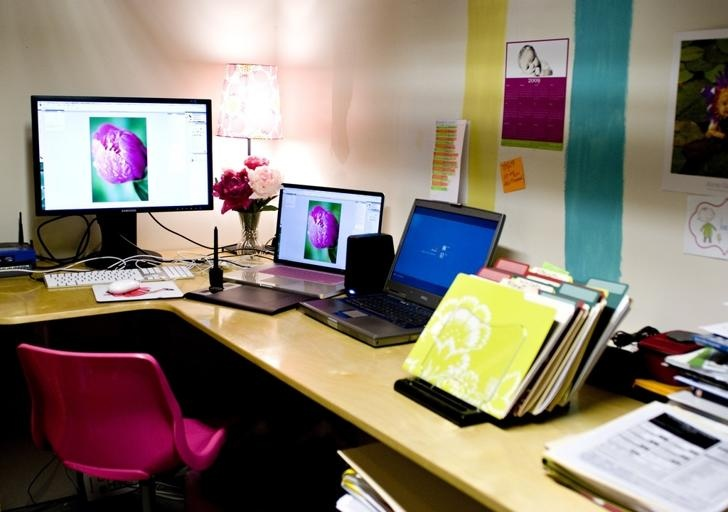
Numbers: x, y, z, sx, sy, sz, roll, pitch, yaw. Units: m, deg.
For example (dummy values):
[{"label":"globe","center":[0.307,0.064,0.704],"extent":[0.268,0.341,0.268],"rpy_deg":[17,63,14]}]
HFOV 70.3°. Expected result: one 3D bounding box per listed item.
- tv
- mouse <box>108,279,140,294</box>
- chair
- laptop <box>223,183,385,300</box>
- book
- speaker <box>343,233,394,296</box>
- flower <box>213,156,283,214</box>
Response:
[{"label":"tv","center":[-1.048,-0.332,2.186],"extent":[0.740,0.690,0.243],"rpy_deg":[-5,11,-29]},{"label":"mouse","center":[-0.879,0.106,1.866],"extent":[0.055,0.025,0.079],"rpy_deg":[5,7,38]},{"label":"chair","center":[-0.680,0.416,1.698],"extent":[0.475,0.655,0.491],"rpy_deg":[9,27,6]},{"label":"laptop","center":[-0.253,-0.083,2.029],"extent":[0.547,0.344,0.406],"rpy_deg":[8,14,30]},{"label":"book","center":[0.395,0.279,1.182],"extent":[0.508,0.230,0.708],"rpy_deg":[-27,30,-28]},{"label":"speaker","center":[0.007,0.034,2.003],"extent":[0.152,0.264,0.271],"rpy_deg":[8,6,10]},{"label":"flower","center":[-0.496,-0.332,2.284],"extent":[0.267,0.267,0.267],"rpy_deg":[-9,26,-36]}]
